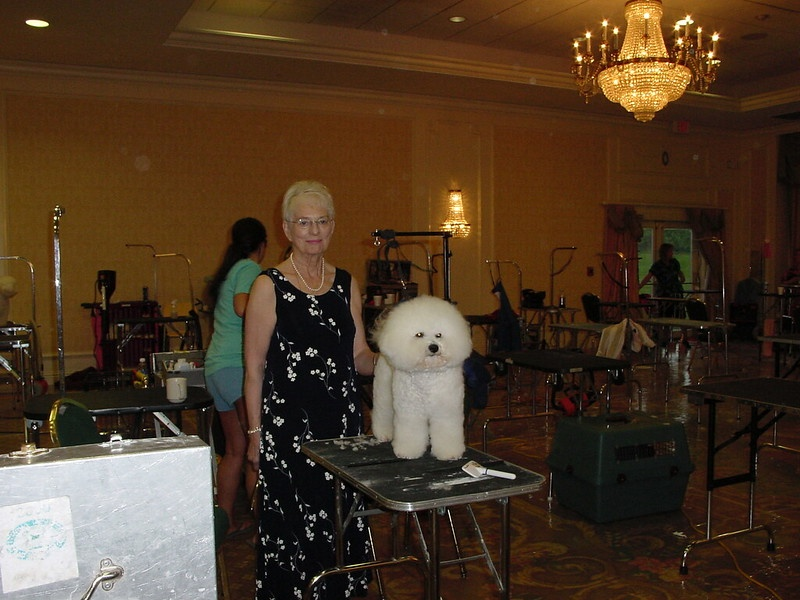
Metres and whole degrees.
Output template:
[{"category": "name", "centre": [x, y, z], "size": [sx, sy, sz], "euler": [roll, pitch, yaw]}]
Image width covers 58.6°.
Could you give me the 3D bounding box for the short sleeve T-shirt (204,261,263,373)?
[{"category": "short sleeve T-shirt", "centre": [-0.985, 0.103, 3.975], "size": [0.328, 0.638, 0.519], "euler": [3, -2, -43]}]

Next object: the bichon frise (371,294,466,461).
[{"category": "bichon frise", "centre": [0.084, 0.310, 2.706], "size": [0.359, 0.635, 0.232], "euler": [-2, 4, -2]}]

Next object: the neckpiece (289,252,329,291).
[{"category": "neckpiece", "centre": [-0.398, -0.107, 3.098], "size": [0.132, 0.190, 0.034], "euler": [-22, 6, -23]}]

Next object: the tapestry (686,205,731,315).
[{"category": "tapestry", "centre": [5.442, -0.844, 12.399], "size": [0.465, 1.467, 0.477], "euler": [-2, 5, 8]}]

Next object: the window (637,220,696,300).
[{"category": "window", "centre": [4.264, -0.680, 11.516], "size": [1.452, 1.573, 0.110], "euler": [-1, -1, -29]}]

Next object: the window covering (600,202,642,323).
[{"category": "window covering", "centre": [3.623, -0.650, 11.388], "size": [0.640, 1.732, 0.302], "euler": [-4, 25, 6]}]

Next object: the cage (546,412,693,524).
[{"category": "cage", "centre": [1.367, 1.009, 4.548], "size": [0.855, 0.587, 0.654], "euler": [-1, 3, -25]}]

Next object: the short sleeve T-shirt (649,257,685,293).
[{"category": "short sleeve T-shirt", "centre": [4.072, -0.371, 10.924], "size": [0.591, 0.538, 0.324], "euler": [-9, 4, -19]}]

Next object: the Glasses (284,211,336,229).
[{"category": "Glasses", "centre": [-0.383, -0.326, 3.002], "size": [0.203, 0.057, 0.076], "euler": [-2, 4, -7]}]

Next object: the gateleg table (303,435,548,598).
[{"category": "gateleg table", "centre": [0.085, 1.002, 3.158], "size": [0.538, 0.609, 0.933], "euler": [-3, 6, -30]}]

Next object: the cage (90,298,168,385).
[{"category": "cage", "centre": [-3.087, 0.463, 8.030], "size": [0.690, 0.852, 0.523], "euler": [-1, 2, -28]}]

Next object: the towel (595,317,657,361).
[{"category": "towel", "centre": [2.322, 0.407, 7.272], "size": [0.719, 0.333, 0.508], "euler": [0, -10, -25]}]

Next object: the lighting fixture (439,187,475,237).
[{"category": "lighting fixture", "centre": [0.767, -1.210, 9.847], "size": [0.425, 0.688, 0.689], "euler": [-1, 4, 5]}]
